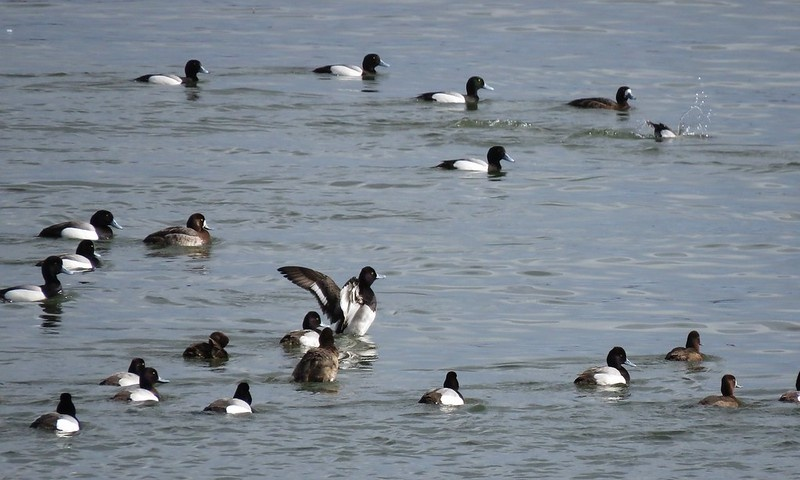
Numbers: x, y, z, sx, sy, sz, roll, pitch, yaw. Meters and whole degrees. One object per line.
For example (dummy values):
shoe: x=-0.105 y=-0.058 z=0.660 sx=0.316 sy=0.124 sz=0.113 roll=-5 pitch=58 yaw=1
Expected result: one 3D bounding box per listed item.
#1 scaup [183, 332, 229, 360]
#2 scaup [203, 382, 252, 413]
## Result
scaup: x=-4.424 y=2.452 z=23.145 sx=1.046 sy=0.571 sz=0.598 roll=-7 pitch=20 yaw=-24
scaup: x=-3.472 y=3.312 z=21.018 sx=1.201 sy=0.467 sz=0.579 roll=-6 pitch=15 yaw=-36
